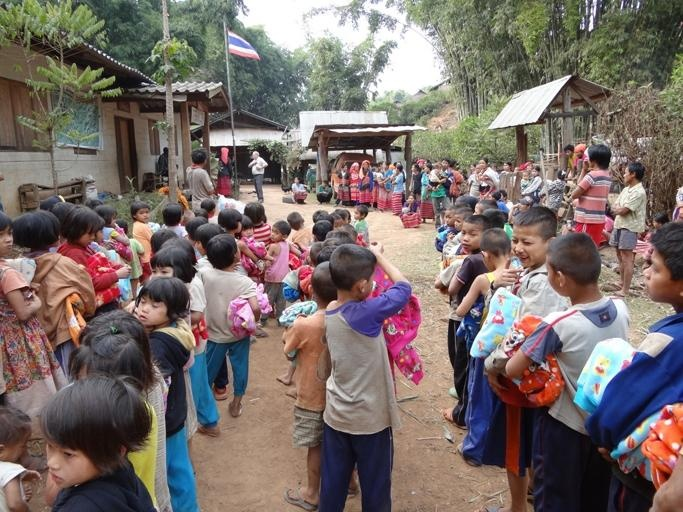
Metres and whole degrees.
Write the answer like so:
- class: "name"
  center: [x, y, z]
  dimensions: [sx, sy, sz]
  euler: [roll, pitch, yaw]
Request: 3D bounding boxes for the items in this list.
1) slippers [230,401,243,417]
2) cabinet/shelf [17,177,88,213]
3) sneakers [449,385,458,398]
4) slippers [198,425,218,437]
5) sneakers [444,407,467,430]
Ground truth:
- class: "slippers"
  center: [-0.915, 1.312, 4.478]
  dimensions: [0.068, 0.071, 0.144]
  euler: [1, 21, -8]
- class: "cabinet/shelf"
  center: [-4.846, -1.099, 9.072]
  dimensions: [0.793, 0.379, 0.239]
  euler: [-11, 4, -20]
- class: "sneakers"
  center: [1.011, 1.227, 4.756]
  dimensions: [0.057, 0.064, 0.142]
  euler: [0, 13, -9]
- class: "slippers"
  center: [-1.069, 1.408, 4.230]
  dimensions: [0.156, 0.077, 0.070]
  euler: [9, 4, 19]
- class: "sneakers"
  center: [0.949, 1.348, 4.391]
  dimensions: [0.076, 0.084, 0.214]
  euler: [-14, 30, -28]
